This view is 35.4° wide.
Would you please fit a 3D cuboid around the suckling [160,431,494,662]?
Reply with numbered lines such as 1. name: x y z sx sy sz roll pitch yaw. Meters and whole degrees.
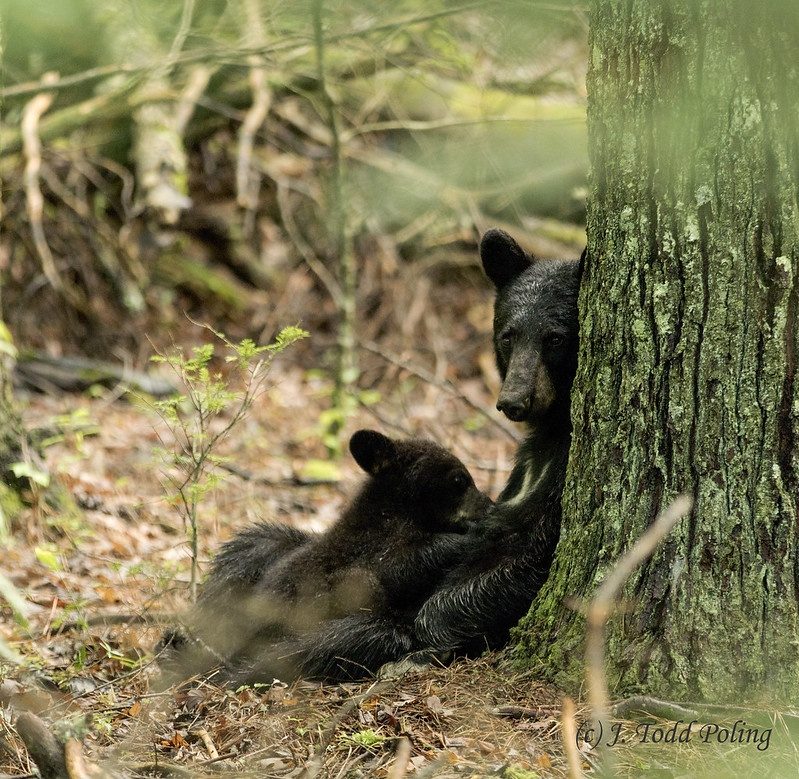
1. suckling: -0.407 1.098 8.273 2.276 1.061 1.117 -20 19 -22
